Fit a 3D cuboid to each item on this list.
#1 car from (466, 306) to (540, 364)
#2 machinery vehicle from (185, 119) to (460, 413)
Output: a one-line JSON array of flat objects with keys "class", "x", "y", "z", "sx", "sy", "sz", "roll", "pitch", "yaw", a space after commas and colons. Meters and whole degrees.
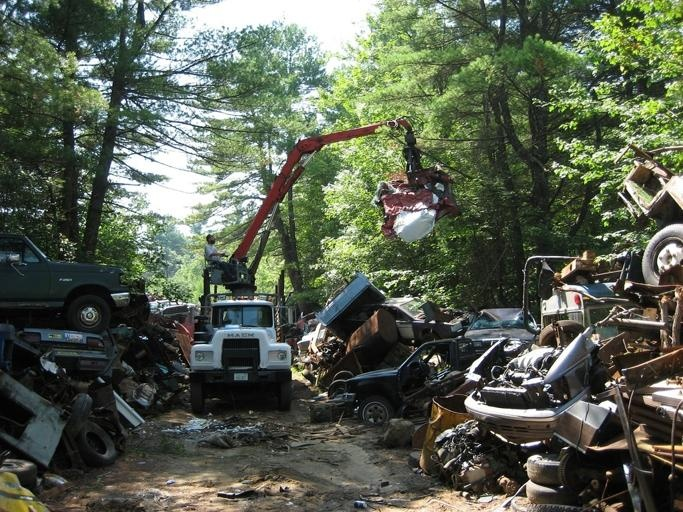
[{"class": "car", "x": 3.866, "y": 1.732, "z": 16.120, "sx": 1.163, "sy": 0.675, "sz": 1.627, "roll": -1, "pitch": -14, "yaw": 5}, {"class": "machinery vehicle", "x": -2.192, "y": -0.349, "z": 24.189, "sx": 6.235, "sy": 7.696, "sz": 18.476, "roll": 1, "pitch": 2, "yaw": -12}]
